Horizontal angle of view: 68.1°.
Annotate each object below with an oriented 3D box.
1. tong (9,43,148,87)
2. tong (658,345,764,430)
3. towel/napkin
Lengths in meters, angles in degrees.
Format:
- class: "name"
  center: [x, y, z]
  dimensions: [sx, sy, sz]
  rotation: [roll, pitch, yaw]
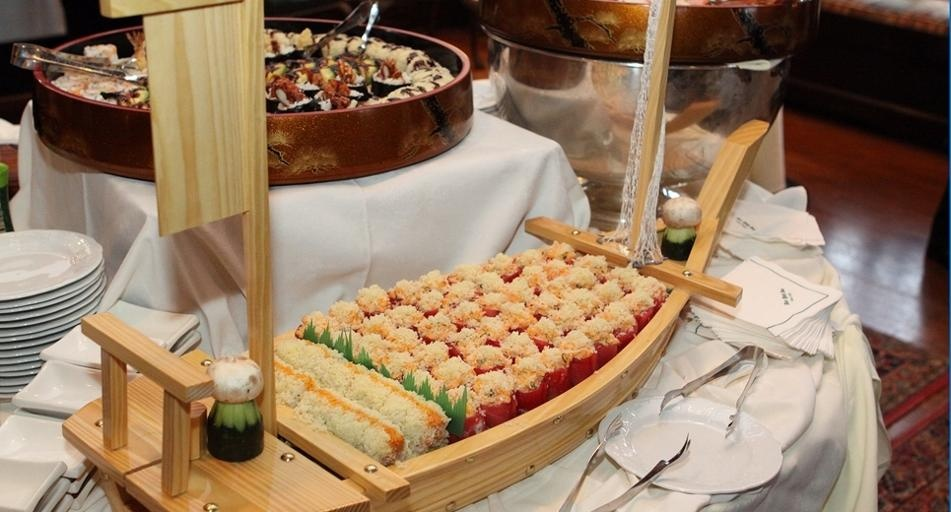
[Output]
- class: "tong"
  center: [-0.848, -0.412, 1.520]
  dimensions: [0.257, 0.057, 0.031]
  rotation: [2, 73, -29]
- class: "tong"
  center: [0.458, 0.222, 1.356]
  dimensions: [0.139, 0.189, 0.151]
  rotation: [2, 3, 6]
- class: "towel/napkin"
  center: [0.617, 0.121, 1.466]
  dimensions: [0.271, 0.085, 0.227]
  rotation: [28, 44, 27]
